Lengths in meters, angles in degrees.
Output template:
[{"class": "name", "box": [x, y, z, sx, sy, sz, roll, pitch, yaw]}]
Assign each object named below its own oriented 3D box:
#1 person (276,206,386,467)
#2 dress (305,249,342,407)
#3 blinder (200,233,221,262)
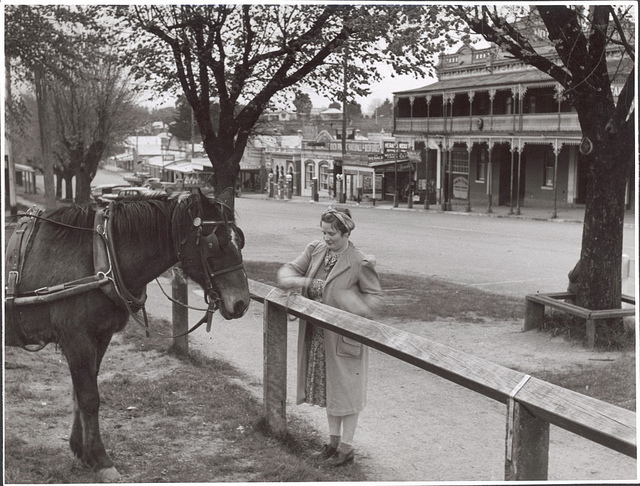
[{"class": "person", "box": [0.110, 0.945, 6.508, 0.939, 2.566, 0.844, 4, 10, 16]}, {"class": "dress", "box": [-0.054, 0.835, 6.424, 0.425, 1.424, 0.552, 1, 13, -15]}, {"class": "blinder", "box": [-0.994, 0.049, 5.892, 0.186, 0.343, 0.064, -7, -3, -5]}]
